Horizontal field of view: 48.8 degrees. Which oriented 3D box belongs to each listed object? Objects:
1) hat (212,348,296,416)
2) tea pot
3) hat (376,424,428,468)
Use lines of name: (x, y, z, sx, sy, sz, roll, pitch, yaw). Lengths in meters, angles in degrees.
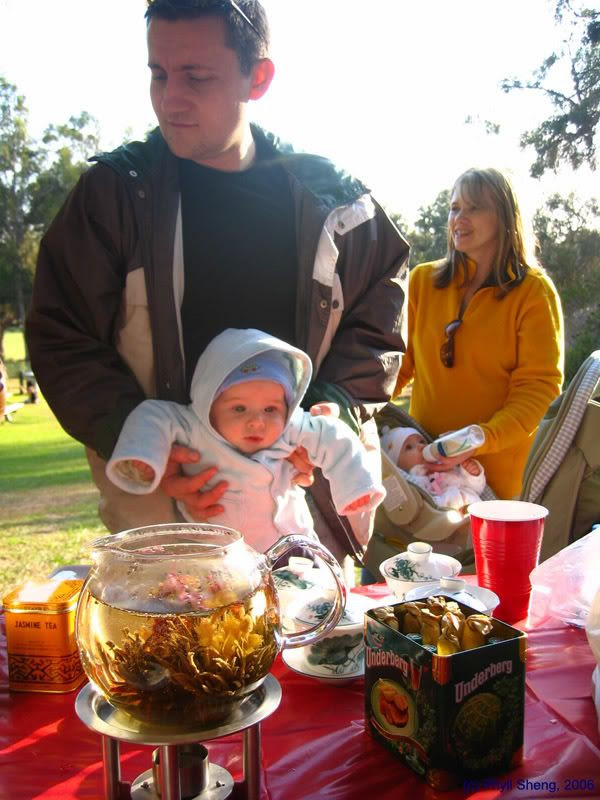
hat: (-0.104, -0.045, 1.565, 0.135, 0.127, 0.165, 6, -4, -13)
tea pot: (-0.114, 0.244, 0.779, 0.217, 0.181, 0.293, 1, 3, 35)
hat: (0.473, 0.179, 2.986, 0.168, 0.187, 0.142, 11, 36, 41)
